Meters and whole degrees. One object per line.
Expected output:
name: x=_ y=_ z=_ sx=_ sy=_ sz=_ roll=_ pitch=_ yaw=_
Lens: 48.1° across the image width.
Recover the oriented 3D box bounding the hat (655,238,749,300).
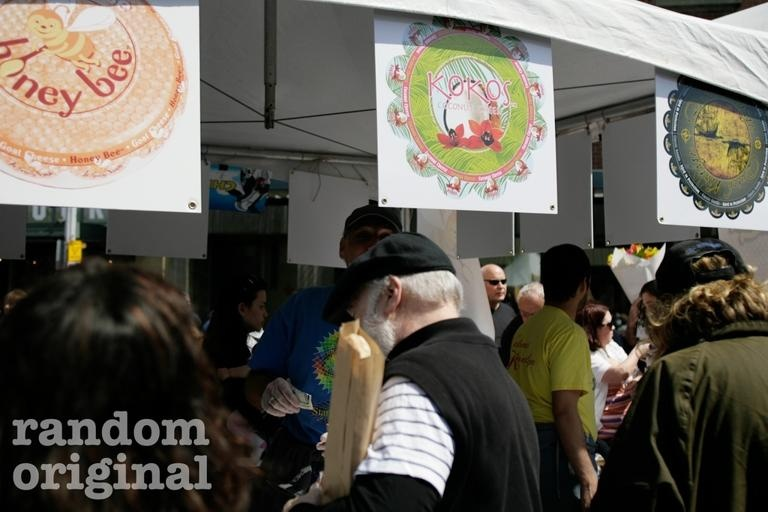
hat: x=1.548 y=0.091 z=4.251 sx=0.351 sy=0.212 sz=0.269 roll=-22 pitch=-5 yaw=17

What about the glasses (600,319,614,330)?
glasses: x=1.615 y=0.508 z=6.270 sx=0.078 sy=0.095 sz=0.026 roll=1 pitch=-13 yaw=-37

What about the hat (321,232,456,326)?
hat: x=0.007 y=0.126 z=3.722 sx=0.440 sy=0.281 sz=0.342 roll=-4 pitch=-10 yaw=9
